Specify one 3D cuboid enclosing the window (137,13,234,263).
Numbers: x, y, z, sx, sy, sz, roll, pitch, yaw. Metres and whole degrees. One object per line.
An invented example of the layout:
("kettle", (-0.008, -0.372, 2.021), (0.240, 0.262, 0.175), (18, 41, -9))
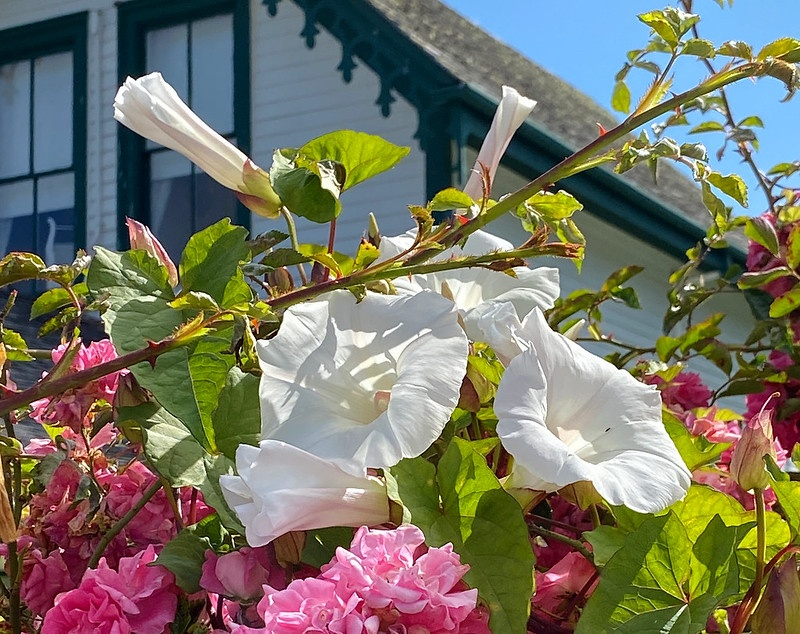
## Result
("window", (-1.189, -1.003, 7.665), (0.645, 1.815, 0.075), (-8, -28, 3))
